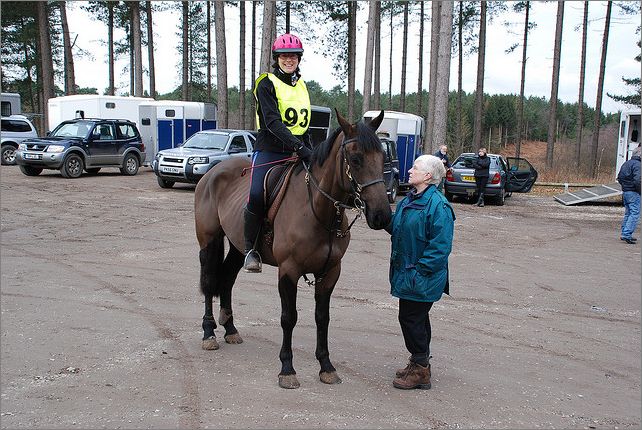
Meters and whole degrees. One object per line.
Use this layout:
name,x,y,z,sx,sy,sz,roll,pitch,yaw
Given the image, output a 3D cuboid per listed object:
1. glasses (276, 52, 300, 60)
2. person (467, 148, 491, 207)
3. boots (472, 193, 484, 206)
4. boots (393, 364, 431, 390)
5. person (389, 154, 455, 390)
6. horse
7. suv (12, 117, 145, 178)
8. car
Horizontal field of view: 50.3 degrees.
glasses,-0.533,-2.563,11.057,0.406,0.118,0.117,0,7,-4
person,5.793,-1.367,24.660,0.581,2.135,1.286,2,8,13
boots,5.787,-0.535,25.052,0.473,0.497,0.273,2,6,12
boots,1.432,2.591,10.765,0.448,0.294,0.524,2,-2,1
person,1.577,0.911,10.783,0.995,3.658,0.686,1,8,3
horse,-0.533,0.501,11.016,3.597,4.305,1.089,5,9,32
suv,-9.683,-2.623,27.221,2.596,1.960,4.233,0,0,32
car,6.633,-1.352,26.536,2.946,1.149,3.547,4,10,30
